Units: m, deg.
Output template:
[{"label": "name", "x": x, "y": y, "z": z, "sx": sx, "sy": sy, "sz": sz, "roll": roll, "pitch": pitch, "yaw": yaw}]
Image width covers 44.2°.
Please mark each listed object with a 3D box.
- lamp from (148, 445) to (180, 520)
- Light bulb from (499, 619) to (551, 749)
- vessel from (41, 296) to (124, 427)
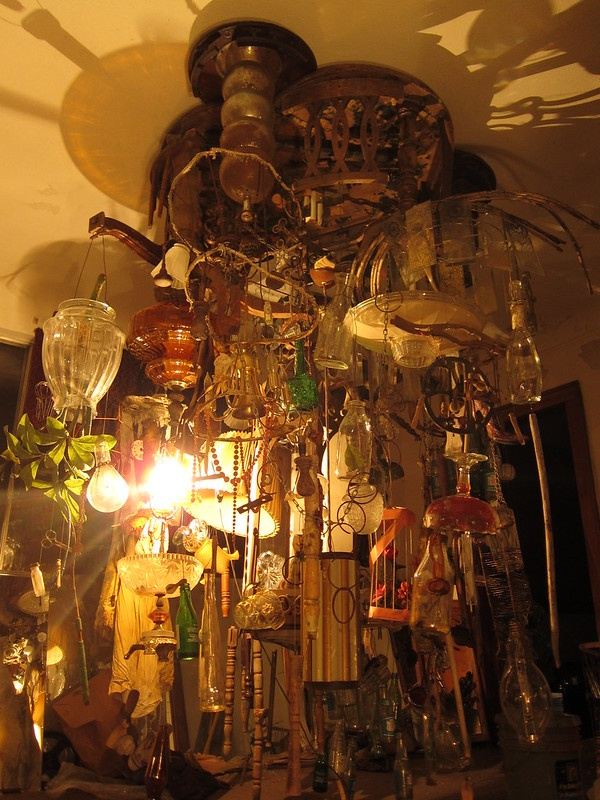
[{"label": "lamp", "x": -0.577, "y": 0.345, "z": 3.041, "sx": 0.182, "sy": 0.165, "sz": 0.271, "roll": -4, "pitch": -58, "yaw": -23}, {"label": "Light bulb", "x": 0.628, "y": 0.787, "z": 2.069, "sx": 0.132, "sy": 0.332, "sz": 0.187, "roll": -9, "pitch": -20, "yaw": 19}, {"label": "vessel", "x": -0.707, "y": -0.140, "z": 2.391, "sx": 0.227, "sy": 0.435, "sz": 0.147, "roll": -3, "pitch": -19, "yaw": 4}]
